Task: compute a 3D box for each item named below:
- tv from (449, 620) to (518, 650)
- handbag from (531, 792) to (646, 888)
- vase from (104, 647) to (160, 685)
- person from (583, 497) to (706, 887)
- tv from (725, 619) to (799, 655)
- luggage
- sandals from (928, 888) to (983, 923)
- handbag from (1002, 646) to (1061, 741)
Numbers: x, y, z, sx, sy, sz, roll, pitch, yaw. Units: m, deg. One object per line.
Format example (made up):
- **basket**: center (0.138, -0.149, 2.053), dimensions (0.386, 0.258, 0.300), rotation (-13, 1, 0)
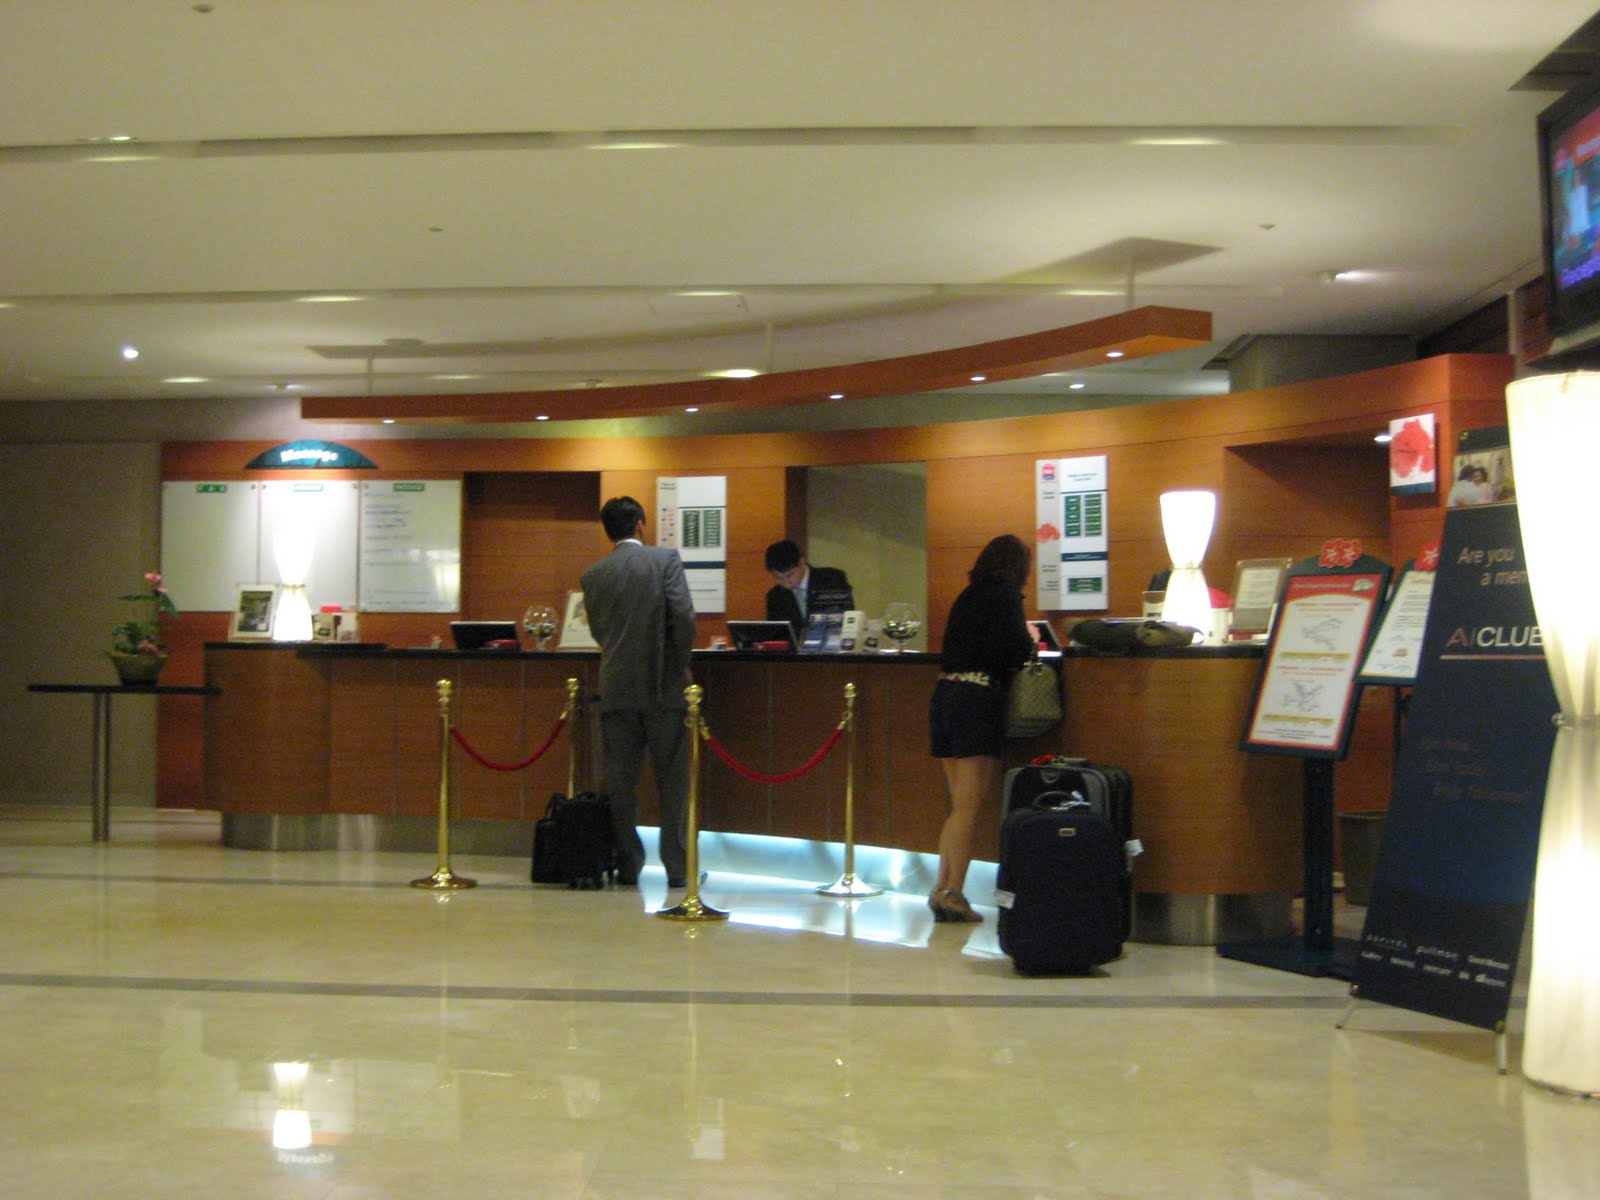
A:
- **tv**: center (-2.053, 0.241, 9.127), dimensions (0.322, 0.196, 0.201), rotation (0, -4, -7)
- **handbag**: center (-1.171, 1.302, 7.530), dimensions (0.636, 0.491, 0.415), rotation (2, -2, -9)
- **vase**: center (-4.765, 0.479, 10.021), dimensions (0.346, 0.251, 0.316), rotation (0, 0, -11)
- **person**: center (-0.837, 0.497, 7.444), dimensions (0.635, 2.088, 0.350), rotation (0, -1, 38)
- **tv**: center (-0.214, 0.213, 8.166), dimensions (0.342, 0.170, 0.632), rotation (0, 0, -8)
- **luggage**: center (1.134, 1.107, 5.857), dimensions (0.538, 0.811, 0.664), rotation (0, 0, 14)
- **sandals**: center (0.734, 1.457, 6.627), dimensions (0.226, 0.097, 0.138), rotation (11, -13, -43)
- **handbag**: center (1.099, 0.466, 6.559), dimensions (0.258, 0.418, 0.241), rotation (0, 0, 11)
